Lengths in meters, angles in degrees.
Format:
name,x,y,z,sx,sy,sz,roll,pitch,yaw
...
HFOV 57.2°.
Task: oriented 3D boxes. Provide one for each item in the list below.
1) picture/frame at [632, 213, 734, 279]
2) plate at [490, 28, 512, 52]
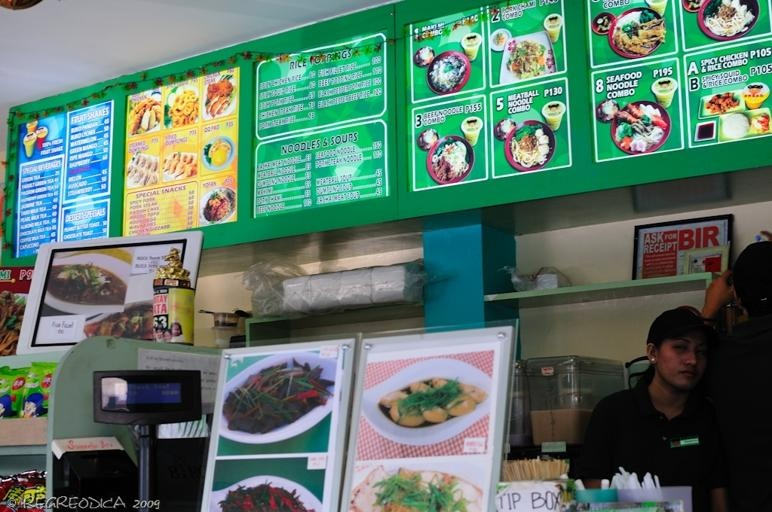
name,x,y,z,sx,sy,sz,roll,pitch,yaw
picture/frame,1.718,-0.046,4.052,0.432,0.284,0.020,-8,-35,29
plate,0.652,-1.237,4.081,0.135,0.122,0.022,9,13,28
